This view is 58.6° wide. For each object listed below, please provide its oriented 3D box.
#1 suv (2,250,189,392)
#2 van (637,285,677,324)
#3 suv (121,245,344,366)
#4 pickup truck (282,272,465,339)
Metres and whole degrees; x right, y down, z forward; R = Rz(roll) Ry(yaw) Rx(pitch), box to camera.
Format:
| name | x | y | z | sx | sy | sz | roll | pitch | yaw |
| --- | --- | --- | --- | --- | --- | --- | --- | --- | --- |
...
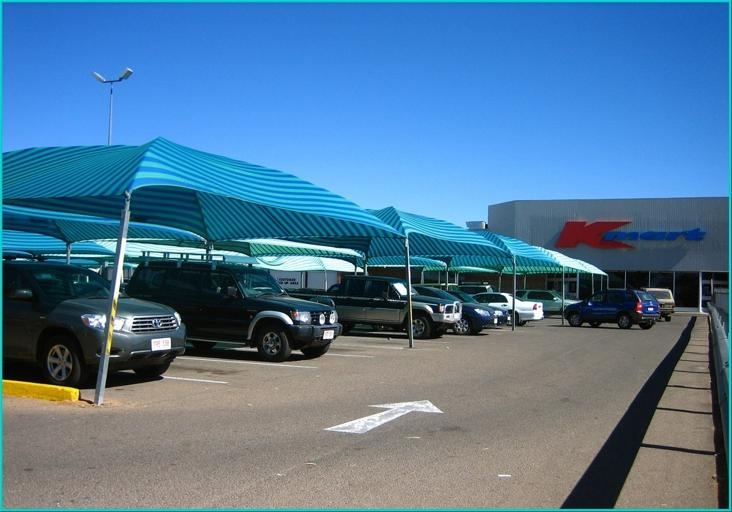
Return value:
| name | x | y | z | sx | sy | sz | roll | pitch | yaw |
| --- | --- | --- | --- | --- | --- | --- | --- | --- | --- |
| suv | -4.979 | 1.204 | 11.546 | 2.975 | 2.077 | 1.862 | 2 | 1 | 13 |
| van | 17.085 | 2.803 | 38.203 | 2.032 | 1.914 | 3.687 | 1 | -6 | -8 |
| suv | -3.080 | 1.140 | 16.097 | 4.620 | 2.228 | 2.457 | -2 | -3 | 19 |
| pickup truck | 0.916 | 1.660 | 22.452 | 5.849 | 2.120 | 2.388 | -1 | -2 | 19 |
